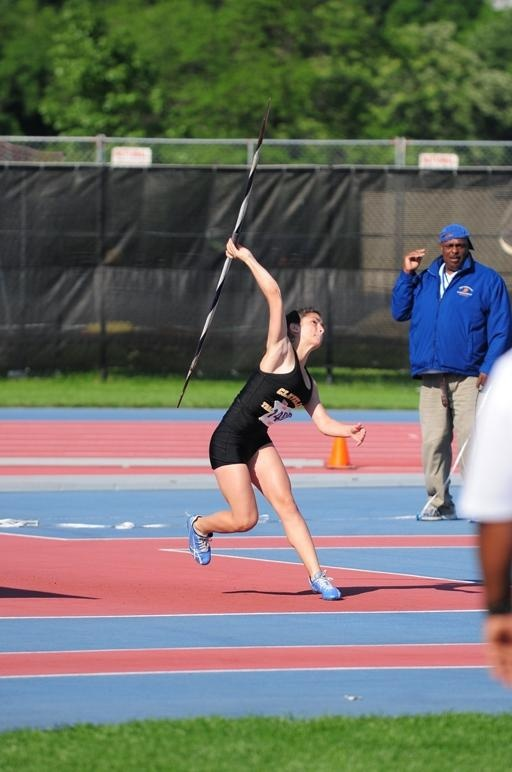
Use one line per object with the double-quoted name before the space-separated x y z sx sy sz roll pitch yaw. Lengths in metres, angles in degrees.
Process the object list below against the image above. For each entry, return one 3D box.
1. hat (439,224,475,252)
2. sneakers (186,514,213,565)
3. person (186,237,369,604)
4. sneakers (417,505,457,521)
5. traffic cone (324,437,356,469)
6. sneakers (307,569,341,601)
"hat" 1.285 -0.956 11.303 0.232 0.198 0.336 1 3 10
"sneakers" -0.292 0.856 9.640 0.138 0.300 0.101 -2 7 38
"person" 0.094 0.194 9.198 0.946 1.872 0.546 1 9 8
"sneakers" 1.220 0.848 11.866 0.259 0.124 0.102 2 -2 -23
"traffic cone" 0.716 0.556 14.343 0.229 0.298 0.219 2 -2 -15
"sneakers" 0.355 1.020 9.227 0.083 0.111 0.242 -25 31 -23
